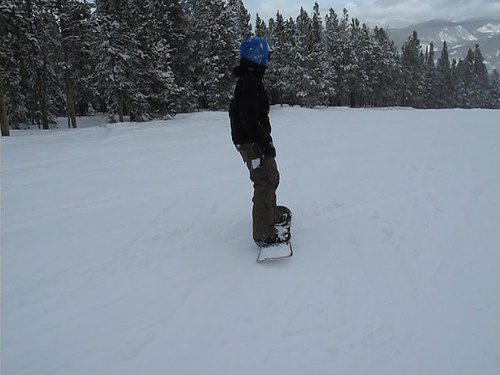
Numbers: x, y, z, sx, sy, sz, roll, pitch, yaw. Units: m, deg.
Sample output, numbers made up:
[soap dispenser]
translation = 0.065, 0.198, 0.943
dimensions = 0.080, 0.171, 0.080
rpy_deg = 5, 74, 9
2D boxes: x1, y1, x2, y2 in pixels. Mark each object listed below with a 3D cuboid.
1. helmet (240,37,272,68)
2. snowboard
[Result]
[helmet]
translation = 0.061, -1.924, 5.585
dimensions = 0.444, 0.433, 0.347
rpy_deg = 11, 7, 27
[snowboard]
translation = 0.357, 0.655, 5.609
dimensions = 0.494, 0.552, 0.804
rpy_deg = -5, 13, 10
